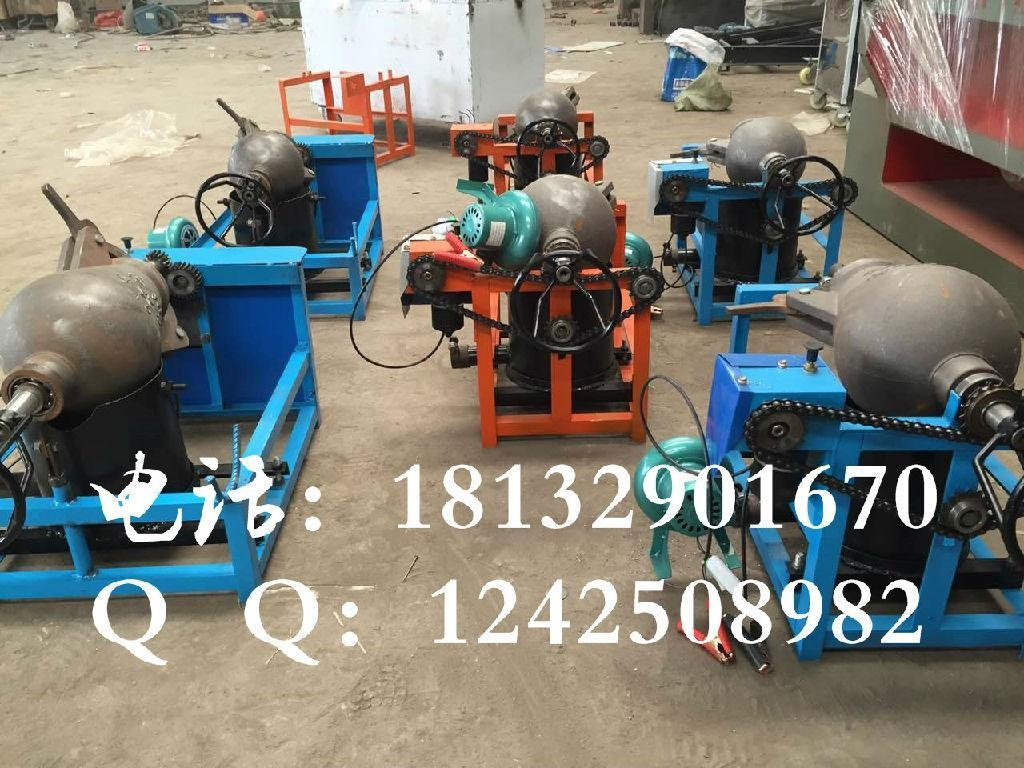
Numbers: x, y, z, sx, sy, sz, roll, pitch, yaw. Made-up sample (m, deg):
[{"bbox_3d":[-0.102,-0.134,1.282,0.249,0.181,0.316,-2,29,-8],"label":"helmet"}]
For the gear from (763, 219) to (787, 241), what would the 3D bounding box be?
[{"bbox_3d":[1.700,-1.020,5.881,0.118,0.122,0.045,22,58,-11],"label":"gear"}]

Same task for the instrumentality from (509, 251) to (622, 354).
[{"bbox_3d":[0.273,-0.439,4.560,0.535,0.569,0.550,3,28,7],"label":"instrumentality"}]

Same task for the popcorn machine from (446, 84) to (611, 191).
[{"bbox_3d":[0.138,-1.903,7.027,0.927,0.907,1.545,-3,14,-7],"label":"popcorn machine"}]

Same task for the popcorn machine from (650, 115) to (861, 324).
[{"bbox_3d":[1.554,-1.375,6.441,1.168,1.143,1.731,-2,30,0],"label":"popcorn machine"}]

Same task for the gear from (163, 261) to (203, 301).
[{"bbox_3d":[-1.704,-0.538,4.589,0.214,0.231,0.073,2,25,1],"label":"gear"}]

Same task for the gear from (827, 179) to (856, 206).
[{"bbox_3d":[2.135,-1.269,5.834,0.204,0.219,0.065,-6,3,15],"label":"gear"}]

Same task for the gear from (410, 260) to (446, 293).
[{"bbox_3d":[-0.443,-0.565,4.557,0.138,0.149,0.042,3,17,-4],"label":"gear"}]

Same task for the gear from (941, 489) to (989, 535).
[{"bbox_3d":[1.686,0.497,3.357,0.180,0.168,0.084,-3,28,-3],"label":"gear"}]

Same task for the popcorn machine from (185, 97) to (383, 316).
[{"bbox_3d":[-1.564,-1.224,6.633,1.286,1.589,2.101,0,30,-3],"label":"popcorn machine"}]

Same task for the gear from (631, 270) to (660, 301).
[{"bbox_3d":[0.665,-0.520,4.592,0.117,0.127,0.063,-9,22,0],"label":"gear"}]

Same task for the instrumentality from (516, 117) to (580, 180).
[{"bbox_3d":[0.216,-1.793,6.848,0.536,0.570,0.454,5,29,12],"label":"instrumentality"}]
